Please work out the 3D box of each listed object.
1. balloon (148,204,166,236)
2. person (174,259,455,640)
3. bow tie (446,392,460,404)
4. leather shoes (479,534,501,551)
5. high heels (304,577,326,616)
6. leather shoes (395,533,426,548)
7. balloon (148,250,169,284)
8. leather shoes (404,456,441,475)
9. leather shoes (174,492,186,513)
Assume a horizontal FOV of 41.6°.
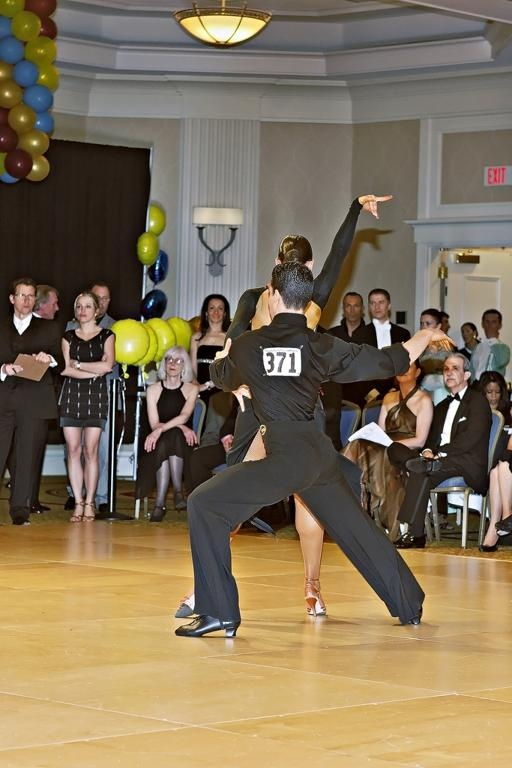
[{"bbox_3d":[-1.445,-2.417,9.830,0.253,0.531,0.478,2,4,-5],"label":"balloon"},{"bbox_3d":[0.208,0.288,2.757,1.029,1.532,0.399,1,4,-10],"label":"person"},{"bbox_3d":[1.751,0.117,5.948,0.141,0.065,0.060,-7,-15,40],"label":"bow tie"},{"bbox_3d":[1.924,1.333,5.541,0.084,0.099,0.252,-8,-15,41],"label":"leather shoes"},{"bbox_3d":[0.269,1.019,3.246,0.069,0.205,0.112,-6,-6,3],"label":"high heels"},{"bbox_3d":[1.292,1.296,5.588,0.221,0.089,0.113,6,-6,-10],"label":"leather shoes"},{"bbox_3d":[-1.382,-1.682,9.731,0.268,0.477,0.277,11,4,-1],"label":"balloon"},{"bbox_3d":[1.399,0.668,5.589,0.326,0.108,0.132,-1,7,-15],"label":"leather shoes"},{"bbox_3d":[-0.733,1.129,6.544,0.102,0.110,0.290,-1,0,-6],"label":"leather shoes"}]
